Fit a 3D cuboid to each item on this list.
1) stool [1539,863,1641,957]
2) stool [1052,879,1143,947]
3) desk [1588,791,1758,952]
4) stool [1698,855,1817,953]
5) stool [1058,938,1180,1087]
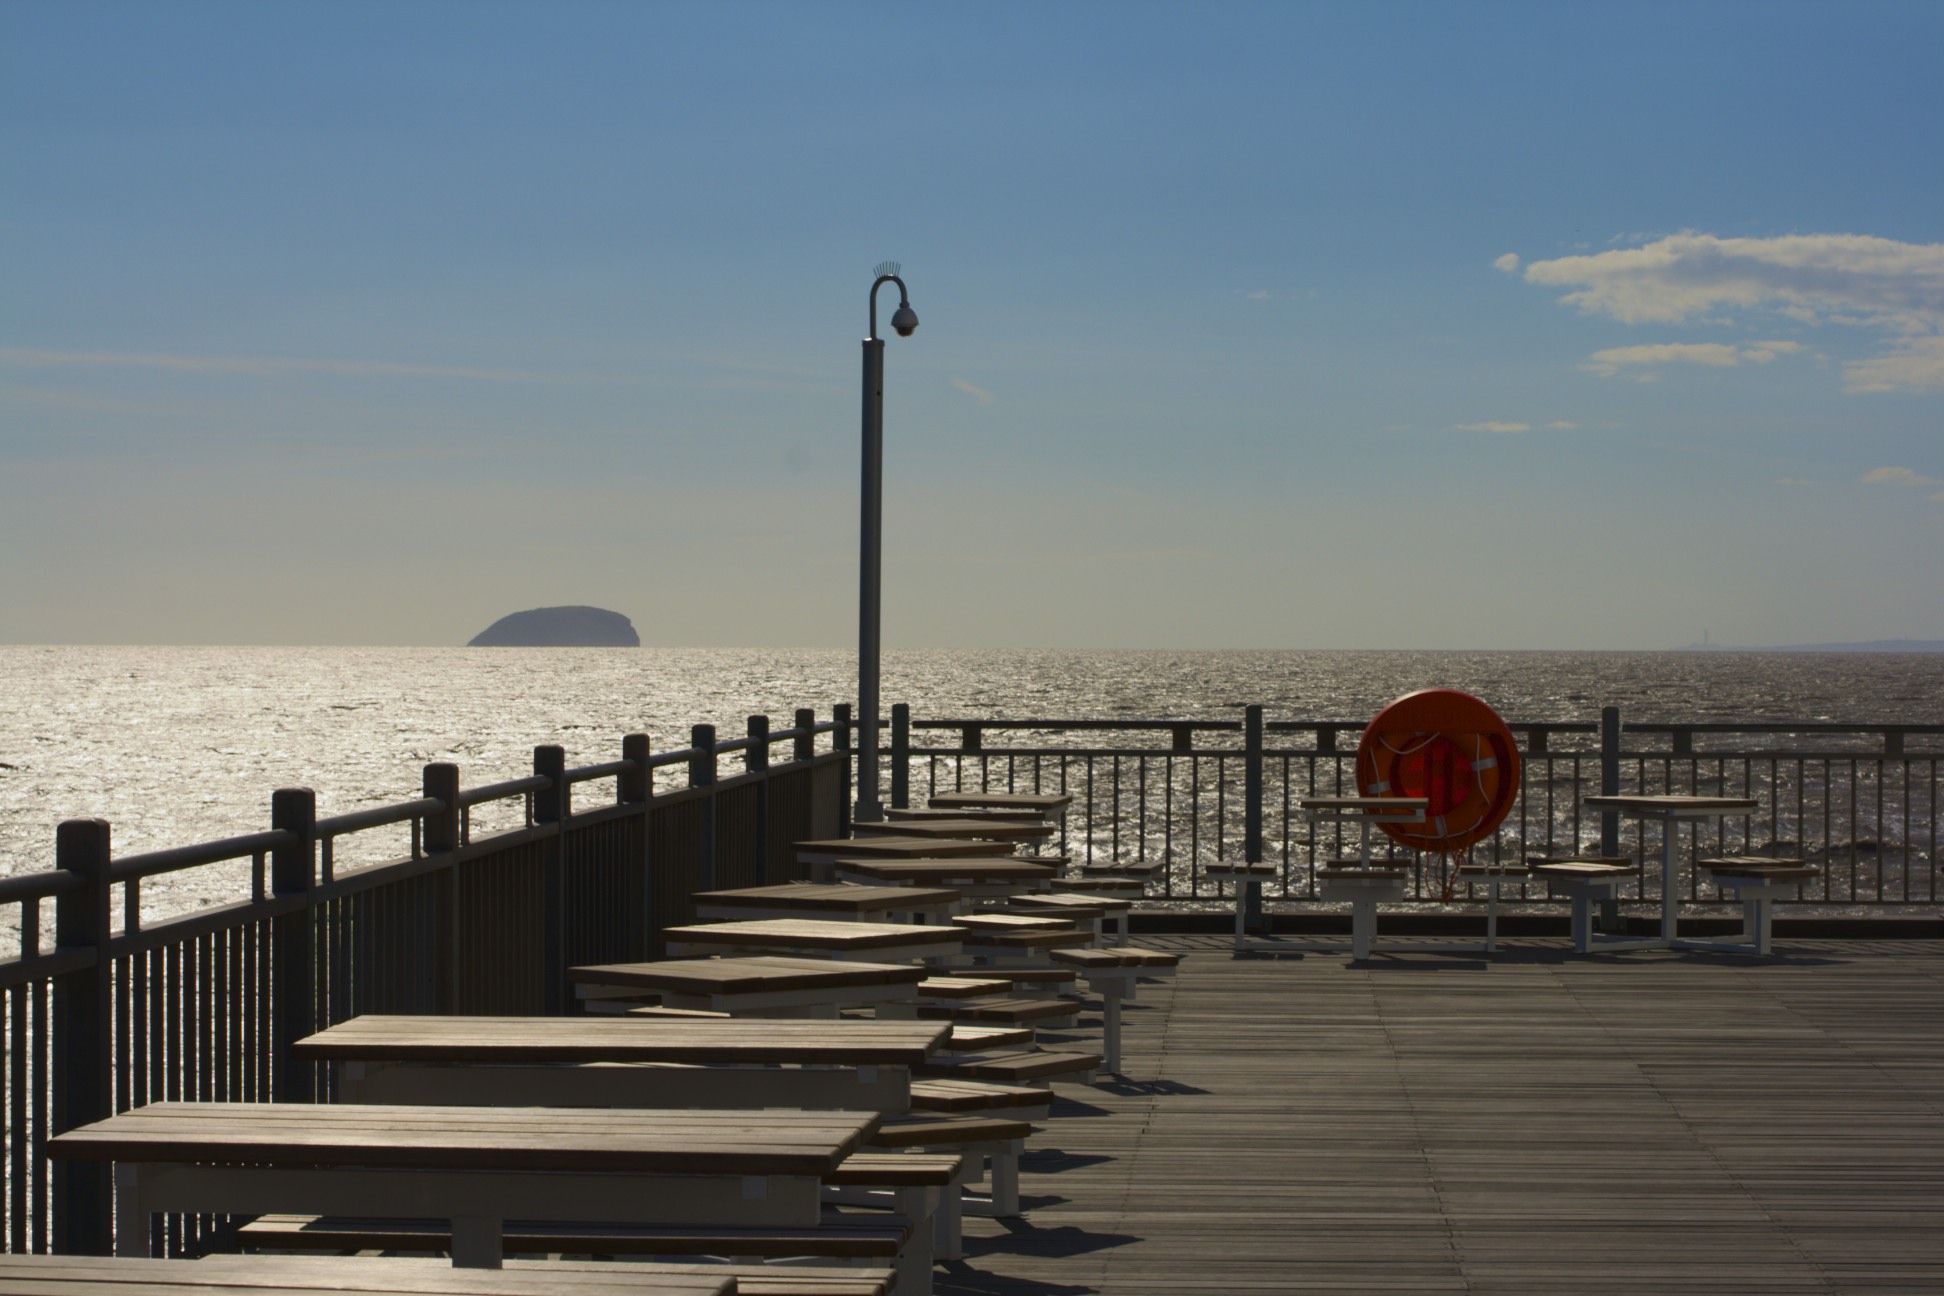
[{"bbox_3d":[4.868,2.029,23.539,0.941,0.607,0.863,-1,1,-35],"label":"stool"},{"bbox_3d":[0.924,1.946,22.003,0.816,0.379,0.642,1,-8,-2],"label":"stool"},{"bbox_3d":[5.659,1.792,23.970,1.676,1.095,1.481,3,-8,-25],"label":"desk"},{"bbox_3d":[6.293,2.096,23.905,1.227,0.627,1.184,-1,-9,5],"label":"stool"},{"bbox_3d":[1.190,2.387,20.012,1.200,0.752,0.947,0,-3,-6],"label":"stool"}]
